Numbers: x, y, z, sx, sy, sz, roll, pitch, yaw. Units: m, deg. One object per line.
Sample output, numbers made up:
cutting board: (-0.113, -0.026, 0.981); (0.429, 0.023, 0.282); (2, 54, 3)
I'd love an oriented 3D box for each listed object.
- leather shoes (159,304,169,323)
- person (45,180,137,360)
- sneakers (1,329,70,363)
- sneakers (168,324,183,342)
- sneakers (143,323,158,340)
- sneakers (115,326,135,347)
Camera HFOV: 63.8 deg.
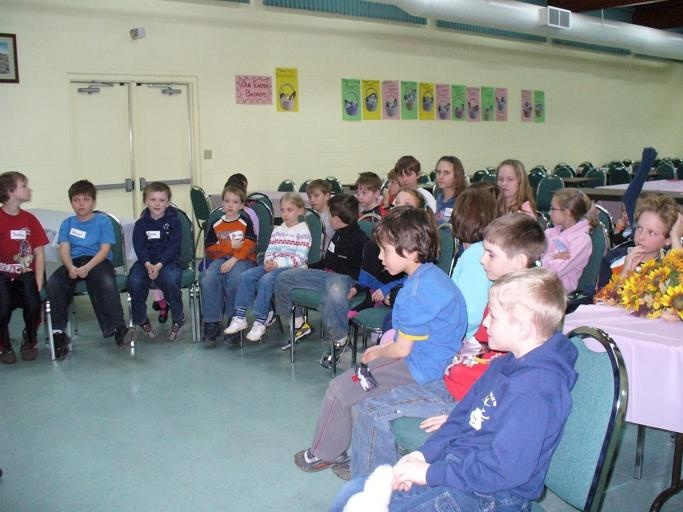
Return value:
leather shoes: (-1.452, 0.473, 4.487); (0.066, 0.076, 0.186); (-1, 12, -8)
person: (-1.956, 0.086, 4.151); (0.539, 1.267, 0.598); (-8, 15, -27)
sneakers: (-2.228, 0.660, 3.953); (0.467, 0.190, 0.133); (-4, 13, -12)
sneakers: (-1.313, 0.598, 4.371); (0.068, 0.074, 0.186); (2, 51, 7)
sneakers: (-1.530, 0.604, 4.365); (0.048, 0.132, 0.051); (-24, 17, 1)
sneakers: (-1.630, 0.603, 4.115); (0.121, 0.168, 0.171); (-1, 1, -16)
